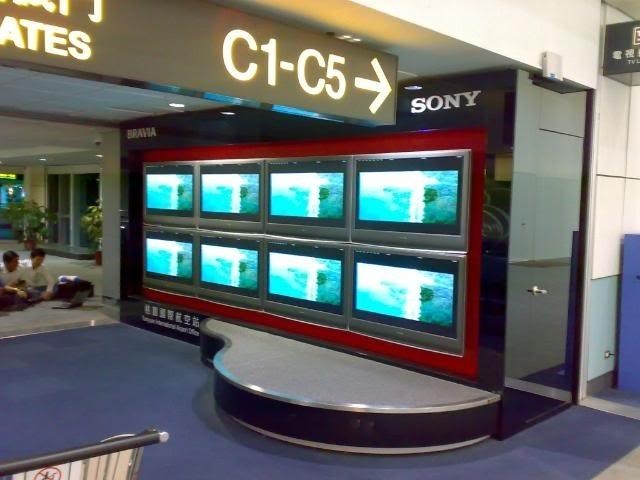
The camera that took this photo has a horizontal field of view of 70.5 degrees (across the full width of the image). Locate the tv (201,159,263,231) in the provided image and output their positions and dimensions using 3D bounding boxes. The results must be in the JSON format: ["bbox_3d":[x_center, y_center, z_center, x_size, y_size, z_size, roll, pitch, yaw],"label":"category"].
[{"bbox_3d":[-1.254,-0.603,6.210,1.169,0.876,0.045,5,6,34],"label":"tv"}]

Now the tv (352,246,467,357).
[{"bbox_3d":[0.949,0.618,4.579,1.258,0.859,0.090,4,1,41],"label":"tv"}]

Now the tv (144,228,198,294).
[{"bbox_3d":[-2.274,0.312,6.958,1.052,0.717,0.039,6,5,40],"label":"tv"}]

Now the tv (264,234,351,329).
[{"bbox_3d":[-0.118,0.484,5.433,1.239,0.838,0.050,4,3,42],"label":"tv"}]

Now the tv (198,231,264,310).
[{"bbox_3d":[-1.195,0.404,6.232,1.153,0.748,0.026,5,4,41],"label":"tv"}]

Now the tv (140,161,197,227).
[{"bbox_3d":[-2.299,-0.702,6.923,1.140,0.897,0.040,5,6,34],"label":"tv"}]
